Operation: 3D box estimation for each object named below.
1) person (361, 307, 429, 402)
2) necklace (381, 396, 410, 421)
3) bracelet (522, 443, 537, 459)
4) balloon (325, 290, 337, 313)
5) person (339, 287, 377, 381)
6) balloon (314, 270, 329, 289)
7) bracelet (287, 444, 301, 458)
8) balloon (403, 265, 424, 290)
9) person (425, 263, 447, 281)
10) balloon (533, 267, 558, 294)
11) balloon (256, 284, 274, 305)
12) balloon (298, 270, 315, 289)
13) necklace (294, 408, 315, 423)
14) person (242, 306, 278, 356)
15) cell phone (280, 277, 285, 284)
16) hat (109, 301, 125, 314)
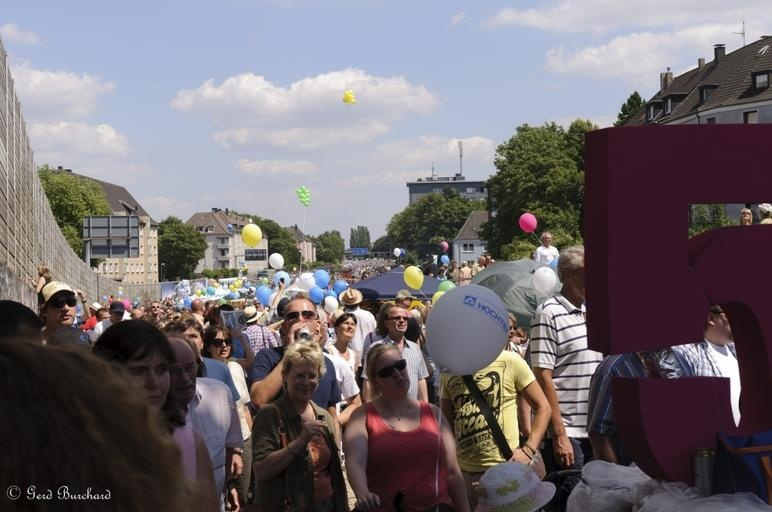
[{"bbox_3d":[0.084,1.259,10.166,0.513,1.545,0.454,-3,5,-30],"label":"person"},{"bbox_3d":[0.071,1.121,7.206,0.154,0.168,0.041,-1,-2,-1],"label":"necklace"},{"bbox_3d":[1.115,1.515,7.556,0.061,0.110,0.083,10,14,-34],"label":"bracelet"},{"bbox_3d":[-1.023,0.858,18.081,0.315,0.411,0.329,0,4,1],"label":"balloon"},{"bbox_3d":[-0.360,1.020,12.410,0.462,1.212,0.378,-11,15,-24],"label":"person"},{"bbox_3d":[-1.342,0.474,20.161,0.278,0.346,0.291,-17,12,13],"label":"balloon"},{"bbox_3d":[-0.659,1.374,6.904,0.081,0.083,0.021,12,12,35],"label":"bracelet"},{"bbox_3d":[0.548,0.449,19.183,0.394,0.541,0.434,-12,16,-3],"label":"balloon"},{"bbox_3d":[1.263,0.421,26.167,0.365,0.444,1.050,2,4,28],"label":"person"},{"bbox_3d":[2.333,0.338,14.138,0.331,0.416,0.349,-3,23,2],"label":"balloon"},{"bbox_3d":[-2.385,0.754,19.069,0.240,0.299,0.251,-15,14,14],"label":"balloon"},{"bbox_3d":[-1.648,0.495,20.096,0.279,0.243,0.330,-2,-10,18],"label":"balloon"},{"bbox_3d":[-0.579,1.169,7.148,0.077,0.093,0.104,-2,-8,0],"label":"necklace"},{"bbox_3d":[-1.510,0.889,11.553,0.289,0.730,0.216,-8,32,12],"label":"person"},{"bbox_3d":[-1.655,0.382,15.473,0.056,0.055,0.096,2,10,-5],"label":"cell phone"},{"bbox_3d":[-3.509,0.677,12.682,0.165,0.160,0.481,-5,1,-18],"label":"hat"}]
